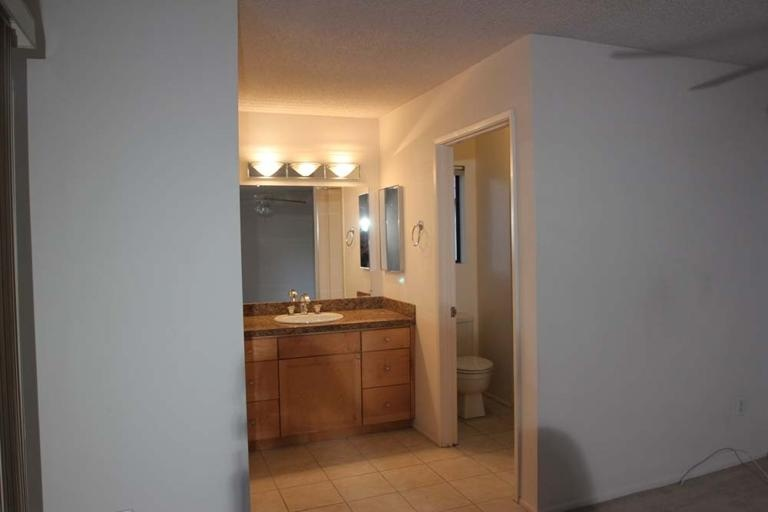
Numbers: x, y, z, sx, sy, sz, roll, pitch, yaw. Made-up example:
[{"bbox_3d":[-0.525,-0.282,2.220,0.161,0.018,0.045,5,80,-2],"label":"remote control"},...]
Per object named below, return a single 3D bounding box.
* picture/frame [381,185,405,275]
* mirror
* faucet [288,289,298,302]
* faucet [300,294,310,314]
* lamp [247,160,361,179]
[{"bbox_3d":[0.089,-0.252,5.098,0.134,0.781,0.384,-5,10,-19],"label":"picture/frame"},{"bbox_3d":[-0.746,-0.113,5.120,1.106,1.233,0.063,0,1,-28],"label":"mirror"},{"bbox_3d":[-0.835,0.371,5.091,0.089,0.118,0.043,-3,9,-7],"label":"faucet"},{"bbox_3d":[-0.731,0.445,5.089,0.090,0.173,0.153,-1,9,0],"label":"faucet"},{"bbox_3d":[-0.737,-0.794,5.127,1.032,0.185,0.119,-5,10,-22],"label":"lamp"}]
